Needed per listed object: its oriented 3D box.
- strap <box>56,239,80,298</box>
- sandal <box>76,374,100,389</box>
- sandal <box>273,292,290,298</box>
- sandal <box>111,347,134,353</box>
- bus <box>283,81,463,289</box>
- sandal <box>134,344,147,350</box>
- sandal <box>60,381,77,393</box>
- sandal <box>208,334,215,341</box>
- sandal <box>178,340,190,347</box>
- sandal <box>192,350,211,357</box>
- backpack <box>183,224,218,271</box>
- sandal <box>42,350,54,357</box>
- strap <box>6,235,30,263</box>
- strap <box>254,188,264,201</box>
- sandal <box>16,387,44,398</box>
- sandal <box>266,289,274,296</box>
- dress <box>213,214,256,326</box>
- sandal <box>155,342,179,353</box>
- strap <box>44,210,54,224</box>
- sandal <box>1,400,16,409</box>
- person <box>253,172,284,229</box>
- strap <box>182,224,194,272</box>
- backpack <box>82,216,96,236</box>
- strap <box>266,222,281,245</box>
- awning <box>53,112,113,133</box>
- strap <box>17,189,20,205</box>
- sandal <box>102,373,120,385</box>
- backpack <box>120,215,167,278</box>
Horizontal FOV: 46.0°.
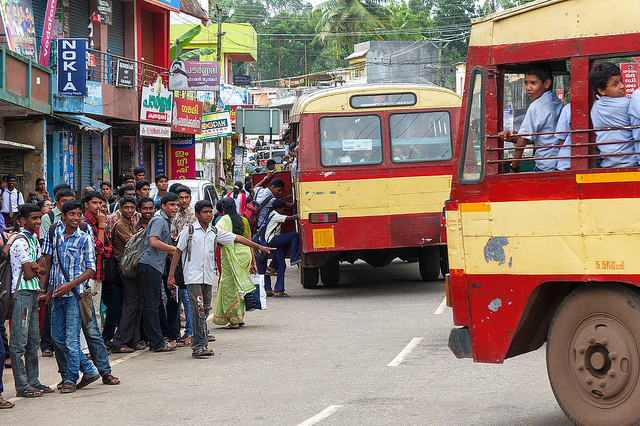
[{"bbox_3d":[-3.118,0.712,9.285,0.104,0.793,0.087,-40,-14,12],"label":"strap"},{"bbox_3d":[-2.928,2.140,9.497,0.286,0.087,0.101,-29,19,-17],"label":"sandal"},{"bbox_3d":[-0.815,1.709,15.802,0.386,0.099,0.164,0,3,34],"label":"sandal"},{"bbox_3d":[-3.003,2.091,11.441,0.309,0.122,0.093,-5,-5,9],"label":"sandal"},{"bbox_3d":[0.877,-0.799,16.969,2.918,2.778,4.663,-1,2,-6],"label":"bus"},{"bbox_3d":[-2.808,2.082,11.654,0.082,0.076,0.198,1,3,41],"label":"sandal"},{"bbox_3d":[-3.129,2.154,9.304,0.169,0.134,0.080,-2,2,-16],"label":"sandal"},{"bbox_3d":[-1.728,1.976,11.949,0.110,0.043,0.147,0,3,0],"label":"sandal"},{"bbox_3d":[-2.171,2.071,11.979,0.178,0.091,0.072,-2,2,-11],"label":"sandal"},{"bbox_3d":[-1.694,2.024,10.871,0.282,0.115,0.103,-11,-4,14],"label":"sandal"},{"bbox_3d":[-1.896,0.425,11.210,0.530,0.824,0.489,4,10,-4],"label":"backpack"},{"bbox_3d":[-4.134,2.137,11.400,0.185,0.075,0.066,0,-1,34],"label":"sandal"},{"bbox_3d":[-3.690,0.413,9.060,0.279,0.249,0.194,-12,10,-26],"label":"strap"},{"bbox_3d":[-1.298,-0.411,16.150,0.064,0.228,0.248,17,5,-5],"label":"strap"},{"bbox_3d":[-3.552,2.190,9.196,0.292,0.124,0.098,-3,-3,-5],"label":"sandal"},{"bbox_3d":[-1.073,1.689,16.056,0.130,0.127,0.204,-2,2,-12],"label":"sandal"},{"bbox_3d":[-1.449,1.212,12.708,0.752,1.438,0.527,-1,2,1],"label":"dress"},{"bbox_3d":[-2.360,2.071,11.630,0.321,0.135,0.106,-8,5,-16],"label":"sandal"},{"bbox_3d":[-4.192,0.040,11.707,0.116,0.164,0.167,-6,9,-44],"label":"strap"},{"bbox_3d":[-3.614,2.215,8.747,0.094,0.088,0.176,0,3,36],"label":"sandal"},{"bbox_3d":[-1.186,-0.302,16.171,1.154,1.049,0.712,-1,-2,-6],"label":"person"},{"bbox_3d":[-1.920,0.472,10.997,0.155,0.599,0.094,-2,2,-3],"label":"strap"},{"bbox_3d":[-3.229,0.166,10.493,0.185,0.240,0.233,-2,-6,31],"label":"backpack"},{"bbox_3d":[-0.971,0.425,15.656,0.107,0.380,0.398,13,8,-25],"label":"strap"},{"bbox_3d":[-6.755,-2.640,21.609,0.924,0.442,2.158,-1,2,10],"label":"awning"},{"bbox_3d":[-7.402,-0.374,18.392,0.029,0.306,0.191,-2,2,-18],"label":"strap"},{"bbox_3d":[-2.653,2.109,9.536,0.231,0.096,0.112,-3,-2,43],"label":"sandal"},{"bbox_3d":[-2.745,0.521,11.436,0.596,1.030,0.461,9,-25,-31],"label":"backpack"}]
